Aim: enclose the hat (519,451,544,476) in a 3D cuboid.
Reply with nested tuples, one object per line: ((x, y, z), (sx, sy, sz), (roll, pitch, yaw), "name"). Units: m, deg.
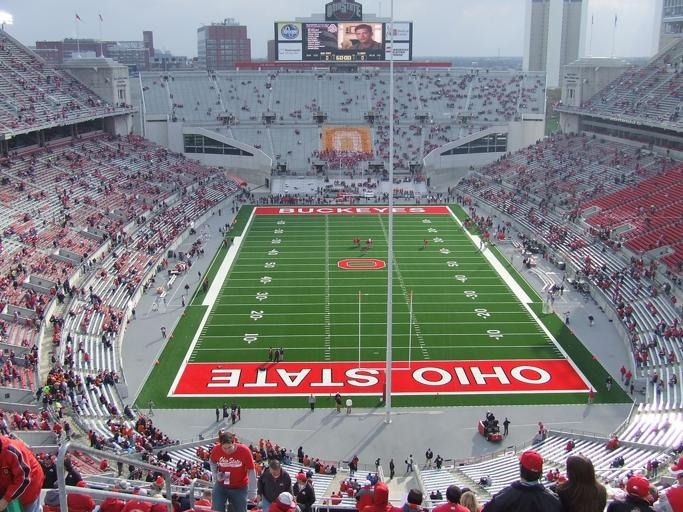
((1.644, 1.758, 5.110), (0.234, 0.137, 0.294), (3, 7, 12), "hat")

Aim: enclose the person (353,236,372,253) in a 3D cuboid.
((1.332, -0.662, 37.197), (1.160, 0.288, 1.434), (-2, 21, -9), "person")
